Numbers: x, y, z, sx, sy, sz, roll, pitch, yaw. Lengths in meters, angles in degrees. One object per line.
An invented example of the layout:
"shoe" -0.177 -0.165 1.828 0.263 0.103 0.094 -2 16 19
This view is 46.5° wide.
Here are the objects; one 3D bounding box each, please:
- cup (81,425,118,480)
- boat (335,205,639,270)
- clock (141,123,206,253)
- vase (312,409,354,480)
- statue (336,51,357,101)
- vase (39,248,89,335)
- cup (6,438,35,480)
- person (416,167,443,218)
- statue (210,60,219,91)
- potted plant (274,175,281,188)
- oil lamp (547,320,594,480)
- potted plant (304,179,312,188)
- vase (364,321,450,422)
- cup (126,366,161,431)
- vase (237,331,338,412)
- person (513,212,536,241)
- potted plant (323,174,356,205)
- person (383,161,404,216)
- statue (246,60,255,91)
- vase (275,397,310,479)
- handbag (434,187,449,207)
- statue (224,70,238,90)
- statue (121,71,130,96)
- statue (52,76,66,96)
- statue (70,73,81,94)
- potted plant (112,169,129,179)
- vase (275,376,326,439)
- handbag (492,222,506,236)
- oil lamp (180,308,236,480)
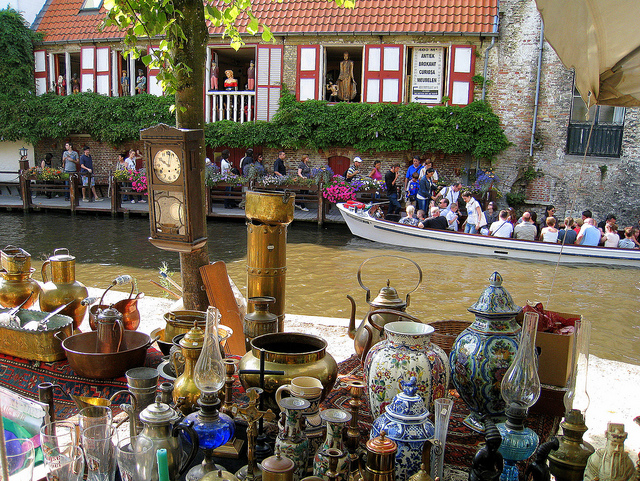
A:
"cup" -1.498 1.486 5.121 0.233 0.426 0.139 -3 8 -20
"boat" 3.489 -0.020 16.409 4.211 0.690 0.881 8 -3 14
"clock" -1.345 -0.470 6.927 0.561 1.200 0.382 -2 7 -12
"vase" 0.126 1.450 5.194 0.299 0.435 0.341 -3 8 -17
"statue" 0.857 -5.240 23.807 0.570 1.546 1.316 0 8 2
"vase" -2.408 0.467 6.997 0.394 0.778 0.403 -3 13 -34
"cup" -2.063 1.471 5.153 0.167 0.280 0.429 -4 9 -25
"person" 2.745 -1.044 18.866 0.584 1.544 0.612 2 17 -7
"statue" -3.389 -5.249 23.962 0.217 0.794 1.162 -1 8 -9
"potted plant" -1.170 -1.634 21.000 0.213 0.268 0.172 1 12 -28
"oil lamp" 1.903 1.137 5.601 0.302 1.039 1.103 2 8 20
"potted plant" -0.307 -1.560 20.780 0.181 0.219 0.195 3 10 10
"vase" 0.636 1.059 5.865 0.595 0.850 0.633 5 16 10
"cup" -1.303 1.139 5.607 0.225 0.432 0.399 1 3 -5
"vase" -0.235 0.973 5.813 0.593 0.414 0.599 0 2 3
"person" 4.493 -0.280 16.334 0.379 0.829 0.510 4 29 15
"potted plant" 0.516 -1.393 20.722 0.662 0.651 0.705 1 1 -11
"person" 2.069 -1.370 20.751 0.490 1.752 0.607 -10 40 6
"statue" -2.178 -5.187 23.868 0.209 0.706 0.394 -1 7 -5
"vase" -0.190 1.397 5.262 0.211 0.545 0.160 2 8 18
"handbag" 2.999 -1.089 18.406 0.152 0.403 0.314 39 10 37
"statue" -2.848 -5.123 23.793 0.362 0.568 0.854 -1 8 -7
"statue" -6.747 -5.483 26.000 0.278 0.840 1.014 -2 8 -14
"statue" -9.182 -5.489 26.566 0.303 0.619 0.592 2 8 15
"statue" -8.727 -5.567 26.689 0.333 0.653 1.379 -3 9 -18
"potted plant" -5.847 -1.962 22.041 0.318 0.235 0.336 2 -4 -3
"vase" -0.150 1.263 5.423 0.363 0.460 0.282 0 -12 20
"handbag" 3.921 -0.244 16.303 0.057 0.378 0.045 36 6 -36
"oil lamp" -0.812 1.089 5.412 0.389 1.077 0.765 -1 8 -7
